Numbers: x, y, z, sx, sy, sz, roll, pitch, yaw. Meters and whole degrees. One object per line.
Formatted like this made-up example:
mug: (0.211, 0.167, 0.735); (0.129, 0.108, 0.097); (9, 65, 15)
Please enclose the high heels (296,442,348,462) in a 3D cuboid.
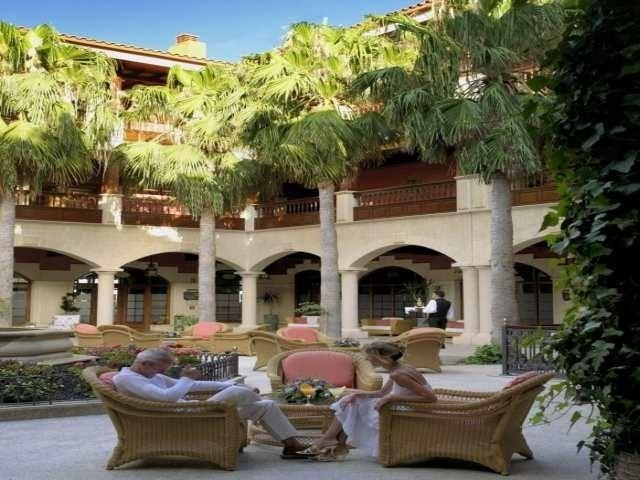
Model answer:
high heels: (0.019, 1.888, 5.204); (0.470, 0.119, 0.160); (1, -15, 0)
